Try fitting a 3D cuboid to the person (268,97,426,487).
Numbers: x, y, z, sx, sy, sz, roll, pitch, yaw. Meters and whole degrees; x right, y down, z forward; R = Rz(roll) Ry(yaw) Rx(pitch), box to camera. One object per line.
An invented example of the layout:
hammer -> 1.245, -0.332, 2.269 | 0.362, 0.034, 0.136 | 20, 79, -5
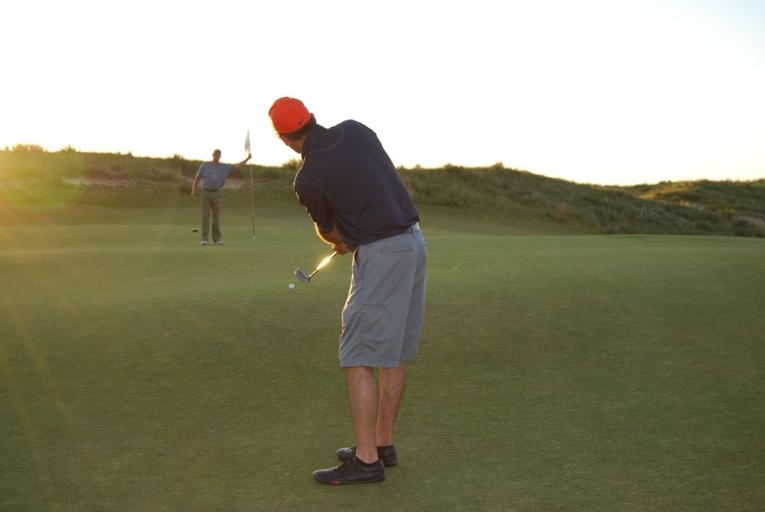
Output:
person -> -0.255, 0.211, 5.833 | 0.966, 2.704, 0.929 | 3, 13, 19
